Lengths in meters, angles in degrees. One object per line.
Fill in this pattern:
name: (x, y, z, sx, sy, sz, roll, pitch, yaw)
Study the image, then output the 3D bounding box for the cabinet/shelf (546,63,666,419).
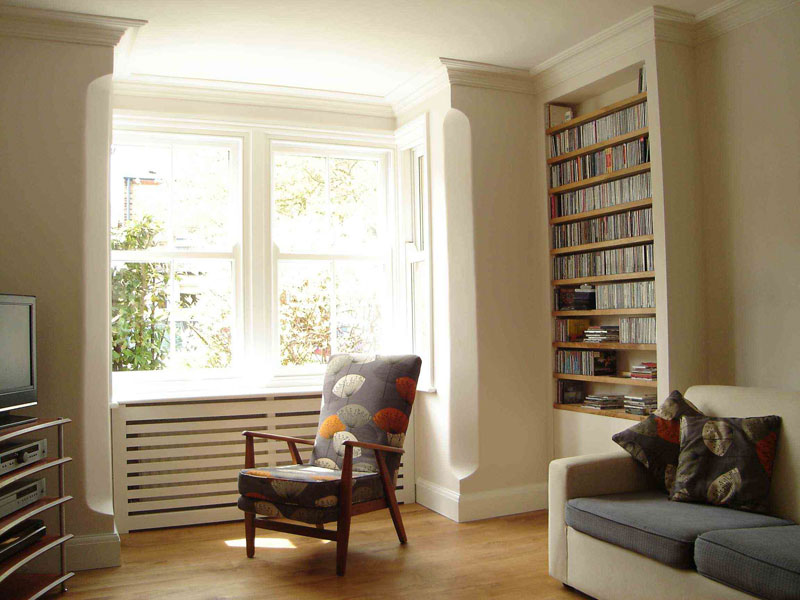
cabinet/shelf: (1.388, -0.750, 4.219, 0.583, 1.418, 0.162, -8, 32, 14)

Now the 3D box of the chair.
chair: (-0.436, 0.977, 3.931, 0.801, 1.140, 1.030, -4, -6, 31)

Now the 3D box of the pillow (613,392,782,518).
pillow: (1.543, 0.787, 3.124, 0.189, 0.461, 0.615, 30, -6, -39)
